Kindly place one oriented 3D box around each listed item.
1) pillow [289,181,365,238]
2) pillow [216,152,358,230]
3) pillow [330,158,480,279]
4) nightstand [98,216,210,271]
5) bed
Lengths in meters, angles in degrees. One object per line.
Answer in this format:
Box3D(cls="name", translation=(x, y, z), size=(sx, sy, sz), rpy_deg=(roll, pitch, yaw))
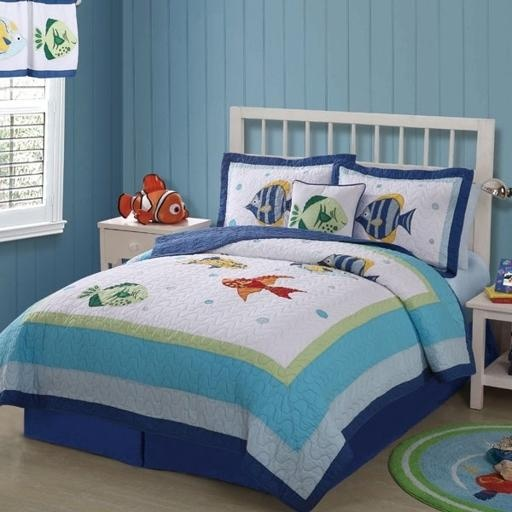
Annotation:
Box3D(cls="pillow", translation=(0.325, -0.199, 2.410), size=(0.241, 0.205, 0.077), rpy_deg=(7, -21, 21))
Box3D(cls="pillow", translation=(0.166, -0.305, 2.617), size=(0.446, 0.314, 0.051), rpy_deg=(2, -20, 29))
Box3D(cls="pillow", translation=(0.643, -0.144, 2.298), size=(0.524, 0.390, 0.073), rpy_deg=(8, -15, 29))
Box3D(cls="nightstand", translation=(-0.621, -0.093, 3.134), size=(0.478, 0.448, 0.331), rpy_deg=(3, 5, 36))
Box3D(cls="bed", translation=(0.023, 0.144, 1.988), size=(1.453, 1.351, 0.832), rpy_deg=(3, 4, 33))
